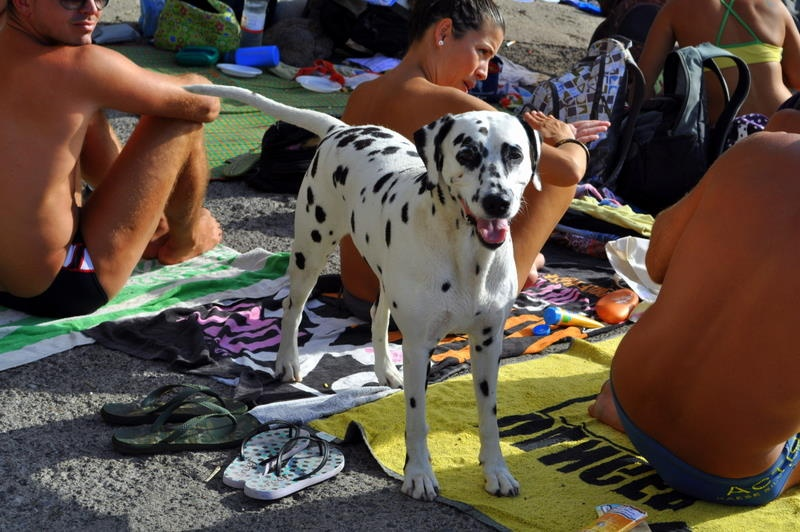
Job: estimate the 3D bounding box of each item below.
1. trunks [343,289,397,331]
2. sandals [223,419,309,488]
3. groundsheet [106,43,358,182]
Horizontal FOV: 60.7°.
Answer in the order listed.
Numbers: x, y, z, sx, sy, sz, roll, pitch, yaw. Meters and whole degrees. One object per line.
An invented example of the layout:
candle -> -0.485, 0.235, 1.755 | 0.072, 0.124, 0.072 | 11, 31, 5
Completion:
trunks -> -0.274, 0.259, 4.686 | 0.255, 0.107, 0.321 | 18, 9, -22
sandals -> -0.745, 0.968, 3.538 | 0.187, 0.077, 0.445 | 15, 33, 21
groundsheet -> -1.486, -1.356, 6.070 | 2.063, 0.028, 1.874 | 23, 38, 21
